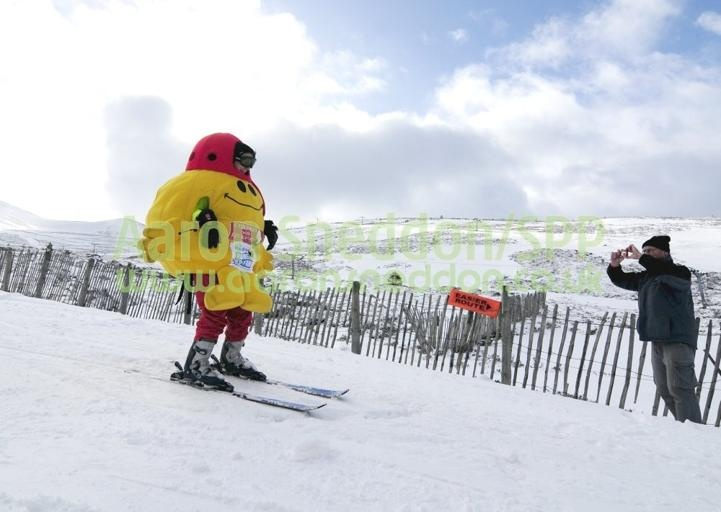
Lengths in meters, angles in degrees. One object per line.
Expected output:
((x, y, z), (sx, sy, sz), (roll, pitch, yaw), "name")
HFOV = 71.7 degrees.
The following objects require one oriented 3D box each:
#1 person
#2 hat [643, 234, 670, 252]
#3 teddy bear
((2.942, 0.678, 4.916), (0.533, 1.790, 0.926), (7, -3, -28), "person")
((3.051, -0.143, 5.138), (0.178, 0.164, 0.238), (13, -3, 22), "hat")
((-1.369, -0.001, 4.637), (1.269, 2.123, 0.677), (7, -3, -23), "teddy bear")
